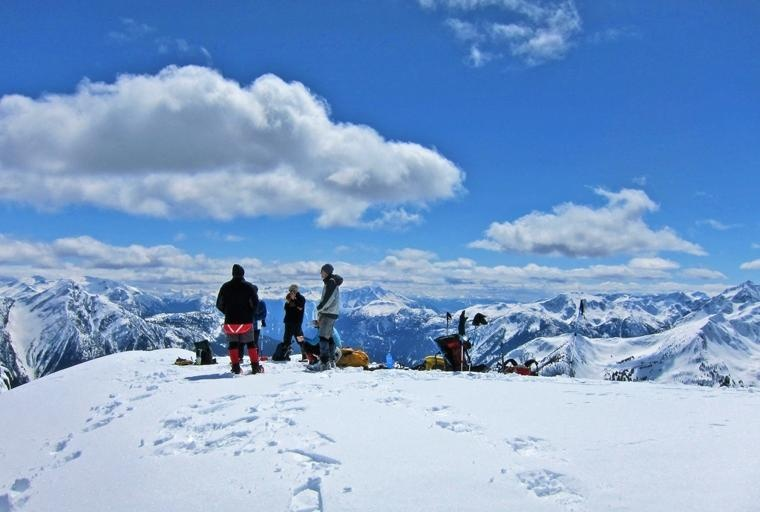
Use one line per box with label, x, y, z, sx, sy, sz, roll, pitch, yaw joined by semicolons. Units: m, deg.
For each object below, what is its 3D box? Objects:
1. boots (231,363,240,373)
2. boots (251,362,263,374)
boots;-5.163;4.004;22.954;0.344;0.323;0.311;-1;-10;-5
boots;-4.484;4.092;23.405;0.445;0.435;0.315;-10;-5;25
